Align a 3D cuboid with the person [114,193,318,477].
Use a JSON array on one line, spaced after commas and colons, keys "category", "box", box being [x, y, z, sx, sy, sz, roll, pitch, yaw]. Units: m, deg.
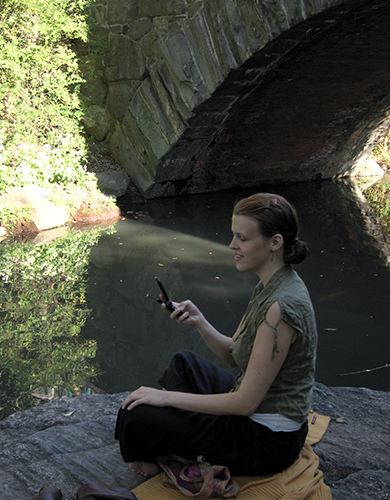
[{"category": "person", "box": [0.088, 0.352, 1.686, 0.736, 0.898, 0.599, -1, 1, 7]}]
